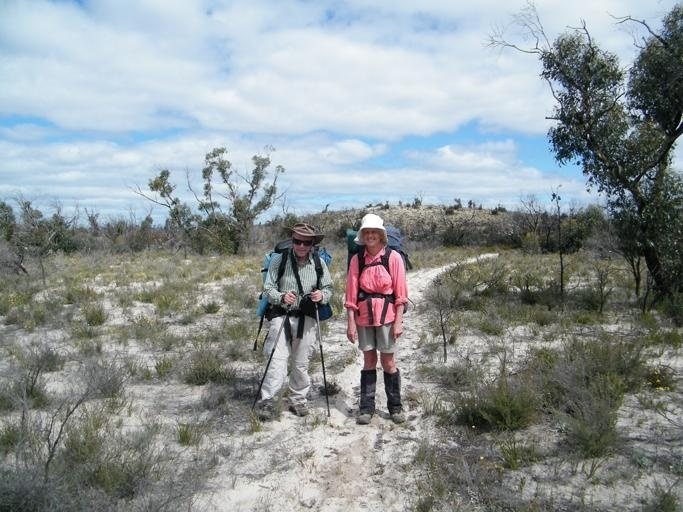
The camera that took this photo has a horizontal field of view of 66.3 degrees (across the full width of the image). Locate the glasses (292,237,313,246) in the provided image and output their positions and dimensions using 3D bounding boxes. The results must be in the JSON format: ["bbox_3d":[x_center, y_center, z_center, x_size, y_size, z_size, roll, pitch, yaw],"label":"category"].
[{"bbox_3d":[-0.574,-0.239,7.912,0.305,0.130,0.175,1,14,-7],"label":"glasses"}]

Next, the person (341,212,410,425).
[{"bbox_3d":[0.541,0.928,7.876,0.959,3.117,0.723,2,13,2],"label":"person"}]

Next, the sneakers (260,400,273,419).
[{"bbox_3d":[-1.119,2.303,7.844,0.161,0.313,0.282,3,-13,-9],"label":"sneakers"}]

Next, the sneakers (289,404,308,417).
[{"bbox_3d":[-0.650,2.370,8.126,0.277,0.162,0.133,-10,-3,36],"label":"sneakers"}]

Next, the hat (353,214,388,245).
[{"bbox_3d":[0.457,-0.408,7.831,0.435,0.520,0.511,12,17,34],"label":"hat"}]

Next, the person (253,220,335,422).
[{"bbox_3d":[-0.744,0.954,8.018,1.181,2.907,0.747,-3,13,-20],"label":"person"}]
